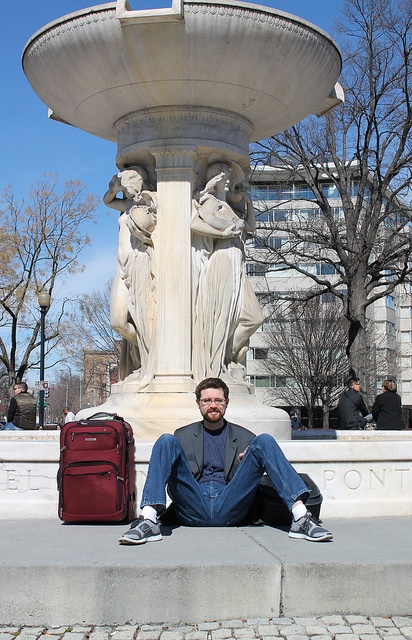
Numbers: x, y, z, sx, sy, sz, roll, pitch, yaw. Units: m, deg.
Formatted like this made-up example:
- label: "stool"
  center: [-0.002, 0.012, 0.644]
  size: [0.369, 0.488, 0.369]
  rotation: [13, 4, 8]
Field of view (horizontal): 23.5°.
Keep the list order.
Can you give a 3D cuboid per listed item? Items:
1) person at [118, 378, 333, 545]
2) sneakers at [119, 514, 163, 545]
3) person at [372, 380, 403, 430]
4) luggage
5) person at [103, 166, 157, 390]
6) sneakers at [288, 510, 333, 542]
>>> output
- label: "person"
  center: [0.077, 0.953, 6.190]
  size: [0.948, 0.815, 1.060]
  rotation: [1, -13, -8]
- label: "sneakers"
  center: [-0.366, 1.222, 5.734]
  size: [0.104, 0.132, 0.281]
  rotation: [-14, -22, 30]
- label: "person"
  center: [2.280, 1.069, 12.393]
  size: [0.376, 0.617, 0.868]
  rotation: [-2, -7, 10]
- label: "luggage"
  center: [-0.756, 0.981, 6.655]
  size: [0.489, 0.762, 0.407]
  rotation: [-2, -4, 2]
- label: "person"
  center: [-0.743, -0.413, 9.871]
  size: [0.467, 2.227, 0.952]
  rotation: [0, -7, -9]
- label: "sneakers"
  center: [0.617, 1.233, 5.906]
  size: [0.122, 0.141, 0.291]
  rotation: [13, -17, -33]
